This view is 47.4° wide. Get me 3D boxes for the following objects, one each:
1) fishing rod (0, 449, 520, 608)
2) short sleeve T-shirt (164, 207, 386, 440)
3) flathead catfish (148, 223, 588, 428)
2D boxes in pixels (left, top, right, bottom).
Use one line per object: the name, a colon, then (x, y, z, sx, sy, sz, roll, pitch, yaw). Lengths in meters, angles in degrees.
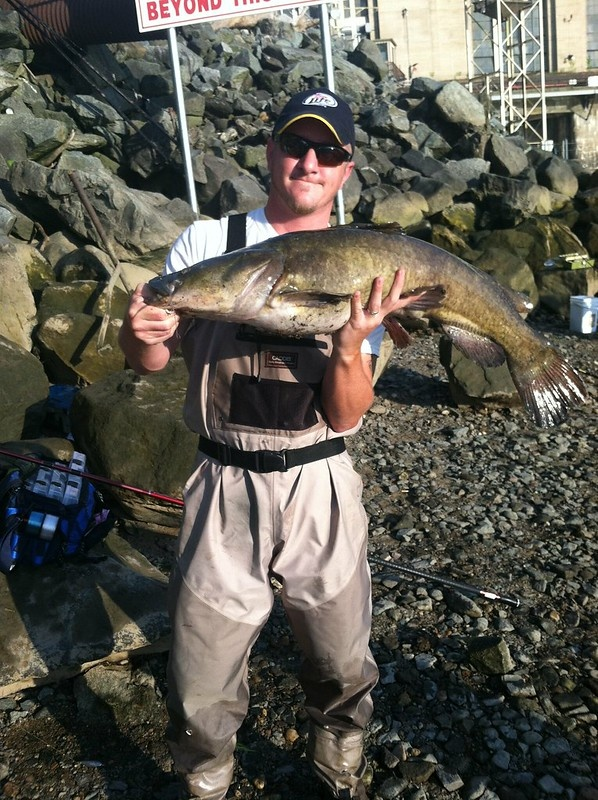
fishing rod: (-0.262, 0.634, 3.232, 2.973, 0.068, 0.144, 18, 13, -1)
short sleeve T-shirt: (-0.079, -0.181, 2.193, 0.746, 0.590, 0.366, 9, 8, 9)
flathead catfish: (0.240, -0.272, 1.947, 1.321, 0.428, 0.366, 5, -7, 4)
